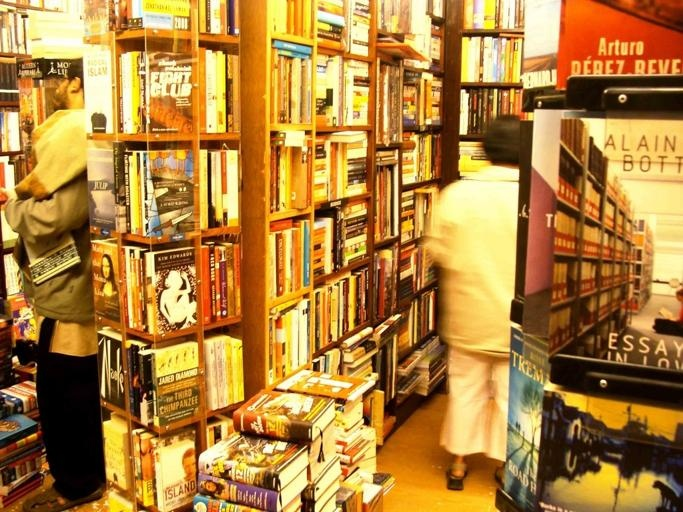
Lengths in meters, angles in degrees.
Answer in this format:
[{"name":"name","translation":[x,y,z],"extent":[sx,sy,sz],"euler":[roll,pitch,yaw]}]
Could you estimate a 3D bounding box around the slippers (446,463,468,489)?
[{"name":"slippers","translation":[0.675,1.296,3.499],"extent":[0.061,0.079,0.177],"euler":[1,6,6]}]
